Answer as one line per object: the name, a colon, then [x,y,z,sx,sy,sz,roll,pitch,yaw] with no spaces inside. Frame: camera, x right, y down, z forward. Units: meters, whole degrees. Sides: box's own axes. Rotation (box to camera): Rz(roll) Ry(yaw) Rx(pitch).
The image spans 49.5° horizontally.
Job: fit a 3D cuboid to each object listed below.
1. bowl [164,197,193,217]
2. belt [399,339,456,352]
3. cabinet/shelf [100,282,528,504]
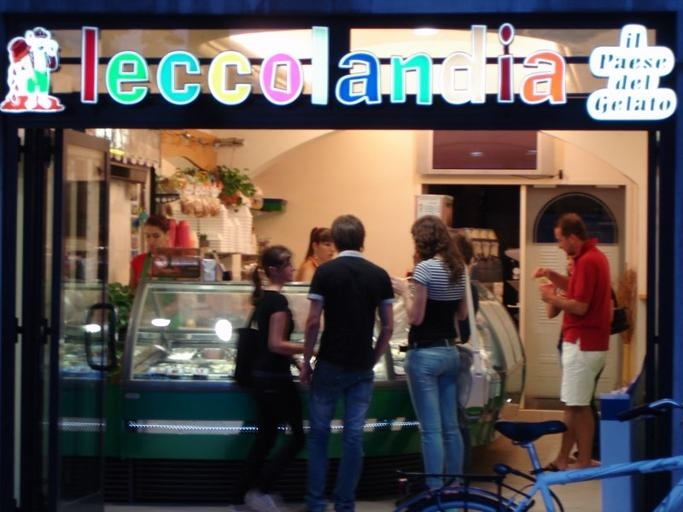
bowl: [-1.475,-0.424,6.609,0.192,0.086,0.256,1,0,3]
belt: [0.526,0.542,4.584,0.163,0.044,0.184,-4,-2,-12]
cabinet/shelf: [-0.507,0.760,5.093,1.841,0.700,1.713,0,1,-11]
